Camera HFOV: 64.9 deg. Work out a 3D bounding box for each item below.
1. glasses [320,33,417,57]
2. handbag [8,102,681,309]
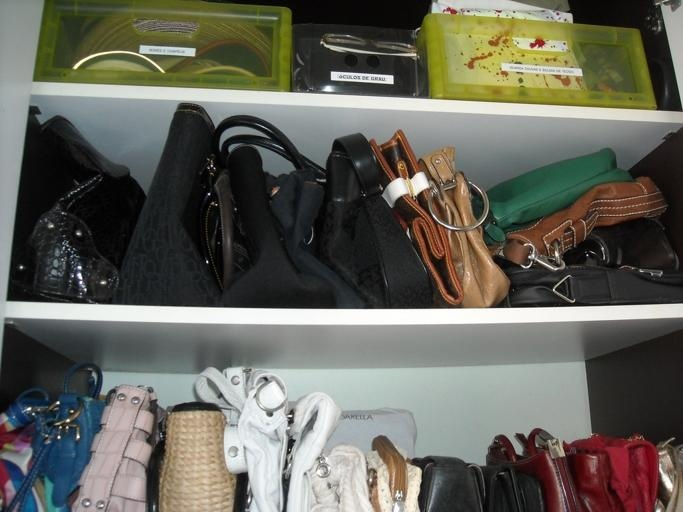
[{"bbox_3d":[0.060,-0.466,1.194,0.217,0.045,0.014,2,5,-7],"label":"glasses"},{"bbox_3d":[-0.210,-0.105,1.098,0.864,0.392,0.259,2,6,-6],"label":"handbag"}]
